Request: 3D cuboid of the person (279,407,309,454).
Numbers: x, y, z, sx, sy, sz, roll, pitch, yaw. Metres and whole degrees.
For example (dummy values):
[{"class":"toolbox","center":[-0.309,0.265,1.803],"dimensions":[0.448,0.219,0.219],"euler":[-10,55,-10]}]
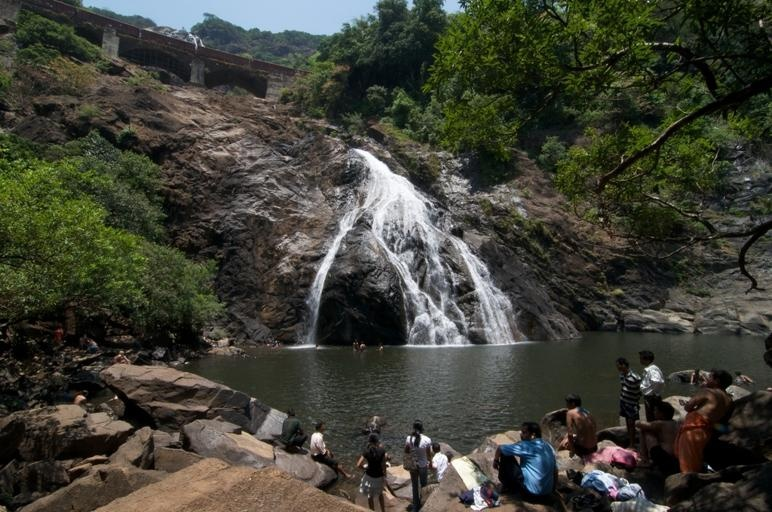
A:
[{"class":"person","center":[-3.154,5.876,17.203],"dimensions":[0.945,1.287,0.842],"euler":[5,-12,-10]}]
